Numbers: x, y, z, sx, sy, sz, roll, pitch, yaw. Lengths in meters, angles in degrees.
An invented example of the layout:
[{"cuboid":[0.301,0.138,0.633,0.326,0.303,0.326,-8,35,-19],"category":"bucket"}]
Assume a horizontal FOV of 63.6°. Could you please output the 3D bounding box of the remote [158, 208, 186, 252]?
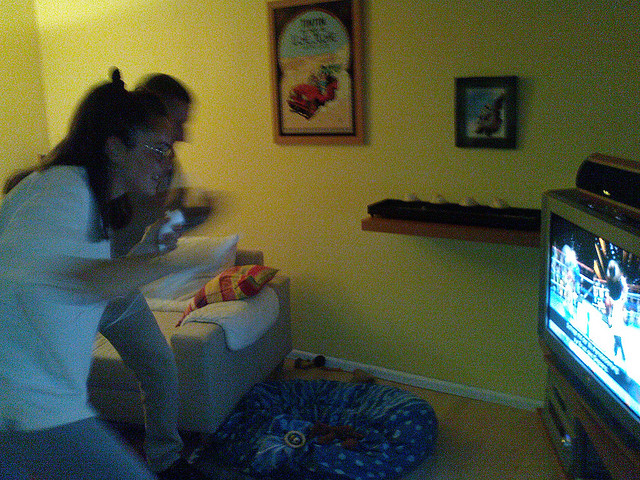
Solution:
[{"cuboid":[-0.160,-0.012,0.560,0.023,0.047,0.009,24,9,7],"category":"remote"}]
